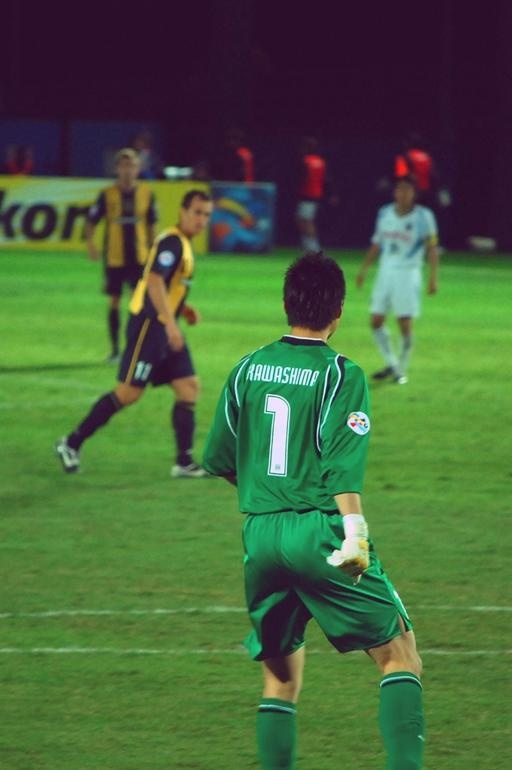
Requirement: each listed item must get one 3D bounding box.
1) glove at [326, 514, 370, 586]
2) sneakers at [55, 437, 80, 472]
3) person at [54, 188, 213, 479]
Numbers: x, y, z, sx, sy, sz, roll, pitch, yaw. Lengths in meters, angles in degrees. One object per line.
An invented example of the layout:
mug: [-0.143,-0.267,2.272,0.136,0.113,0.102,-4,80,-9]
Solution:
glove: [0.192,0.361,2.167,0.108,0.127,0.070,-11,7,-5]
sneakers: [-1.090,0.413,5.729,0.158,0.181,0.080,9,20,18]
person: [-0.662,-0.271,5.602,0.808,1.677,0.447,0,12,-12]
